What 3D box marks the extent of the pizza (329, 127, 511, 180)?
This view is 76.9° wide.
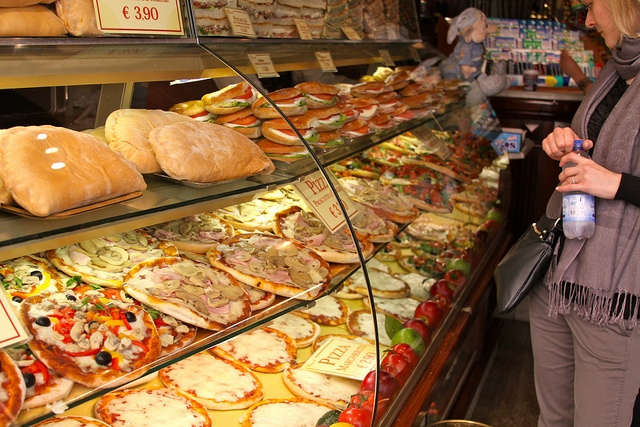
[{"bbox_3d":[0.709,-0.367,2.538,0.562,0.097,0.534,18,28,41],"label":"pizza"}]

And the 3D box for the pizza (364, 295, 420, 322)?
[{"bbox_3d":[0.391,0.472,2.054,0.213,0.018,0.156,10,19,21],"label":"pizza"}]

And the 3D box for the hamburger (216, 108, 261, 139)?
[{"bbox_3d":[-0.311,-0.360,1.583,0.136,0.061,0.140,28,33,36],"label":"hamburger"}]

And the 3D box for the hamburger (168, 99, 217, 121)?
[{"bbox_3d":[-0.486,-0.402,1.570,0.124,0.037,0.121,17,25,28],"label":"hamburger"}]

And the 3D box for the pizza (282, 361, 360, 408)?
[{"bbox_3d":[0.003,0.738,1.724,0.257,0.023,0.146,12,23,11],"label":"pizza"}]

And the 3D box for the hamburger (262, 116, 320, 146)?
[{"bbox_3d":[-0.115,-0.328,1.564,0.181,0.056,0.160,2,18,9],"label":"hamburger"}]

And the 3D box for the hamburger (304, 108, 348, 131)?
[{"bbox_3d":[0.033,-0.412,1.747,0.155,0.056,0.119,-8,31,-17],"label":"hamburger"}]

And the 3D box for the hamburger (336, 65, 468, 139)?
[{"bbox_3d":[0.459,-0.649,2.235,0.741,0.181,0.500,-27,42,-31],"label":"hamburger"}]

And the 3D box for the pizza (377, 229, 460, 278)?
[{"bbox_3d":[0.578,0.240,2.324,0.365,0.039,0.368,14,26,23],"label":"pizza"}]

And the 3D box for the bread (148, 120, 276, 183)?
[{"bbox_3d":[-0.349,-0.203,1.365,0.347,0.071,0.225,-4,42,-41],"label":"bread"}]

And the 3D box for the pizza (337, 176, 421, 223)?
[{"bbox_3d":[0.345,-0.078,2.256,0.431,0.081,0.244,27,25,13],"label":"pizza"}]

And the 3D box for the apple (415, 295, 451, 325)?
[{"bbox_3d":[0.606,0.523,2.188,0.102,0.111,0.187,-18,9,44],"label":"apple"}]

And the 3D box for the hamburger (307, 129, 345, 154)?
[{"bbox_3d":[0.029,-0.315,1.731,0.135,0.049,0.120,-13,24,-20],"label":"hamburger"}]

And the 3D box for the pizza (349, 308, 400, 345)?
[{"bbox_3d":[0.234,0.522,1.869,0.168,0.017,0.184,-17,30,-41],"label":"pizza"}]

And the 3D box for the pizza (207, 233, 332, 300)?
[{"bbox_3d":[-0.195,0.200,1.568,0.393,0.066,0.258,19,27,1],"label":"pizza"}]

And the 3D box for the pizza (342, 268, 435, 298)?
[{"bbox_3d":[0.393,0.378,2.127,0.369,0.032,0.251,3,20,4],"label":"pizza"}]

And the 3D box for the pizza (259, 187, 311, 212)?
[{"bbox_3d":[-0.188,-0.092,1.960,0.163,0.039,0.170,35,37,29],"label":"pizza"}]

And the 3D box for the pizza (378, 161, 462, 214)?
[{"bbox_3d":[0.610,-0.163,2.379,0.401,0.108,0.341,25,26,13],"label":"pizza"}]

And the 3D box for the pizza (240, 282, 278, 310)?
[{"bbox_3d":[-0.221,0.304,1.473,0.113,0.027,0.099,0,25,-27],"label":"pizza"}]

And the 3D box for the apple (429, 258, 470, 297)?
[{"bbox_3d":[0.749,0.386,2.429,0.287,0.166,0.164,-56,15,-29],"label":"apple"}]

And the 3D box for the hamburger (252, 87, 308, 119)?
[{"bbox_3d":[-0.169,-0.425,1.619,0.187,0.077,0.179,4,21,32],"label":"hamburger"}]

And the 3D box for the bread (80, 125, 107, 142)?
[{"bbox_3d":[-0.792,-0.286,1.446,0.112,0.043,0.098,0,7,1],"label":"bread"}]

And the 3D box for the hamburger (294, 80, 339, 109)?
[{"bbox_3d":[-0.013,-0.525,1.782,0.175,0.072,0.153,-1,23,-10],"label":"hamburger"}]

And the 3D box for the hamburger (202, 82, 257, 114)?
[{"bbox_3d":[-0.348,-0.446,1.581,0.182,0.057,0.163,-13,10,12],"label":"hamburger"}]

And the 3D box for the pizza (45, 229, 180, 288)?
[{"bbox_3d":[-0.731,0.147,1.426,0.303,0.034,0.217,2,26,-20],"label":"pizza"}]

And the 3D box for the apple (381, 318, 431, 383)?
[{"bbox_3d":[0.416,0.626,1.918,0.222,0.122,0.295,-7,43,29],"label":"apple"}]

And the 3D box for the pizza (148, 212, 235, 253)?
[{"bbox_3d":[-0.514,0.073,1.665,0.233,0.058,0.207,12,25,14],"label":"pizza"}]

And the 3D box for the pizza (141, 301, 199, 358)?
[{"bbox_3d":[-0.476,0.385,1.301,0.183,0.021,0.150,8,26,-4],"label":"pizza"}]

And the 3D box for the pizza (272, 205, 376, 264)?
[{"bbox_3d":[0.002,0.065,1.771,0.386,0.066,0.231,27,27,13],"label":"pizza"}]
